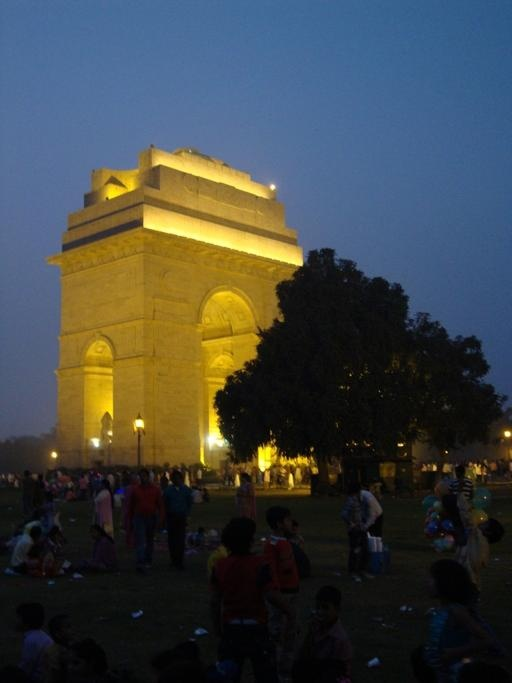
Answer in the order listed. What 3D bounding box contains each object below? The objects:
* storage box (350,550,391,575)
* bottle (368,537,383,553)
[{"bbox_3d":[1.614,3.101,9.589,0.339,0.374,0.593,-10,-13,43],"label":"storage box"},{"bbox_3d":[1.681,2.864,9.583,0.227,0.213,0.220,4,-10,-30],"label":"bottle"}]
